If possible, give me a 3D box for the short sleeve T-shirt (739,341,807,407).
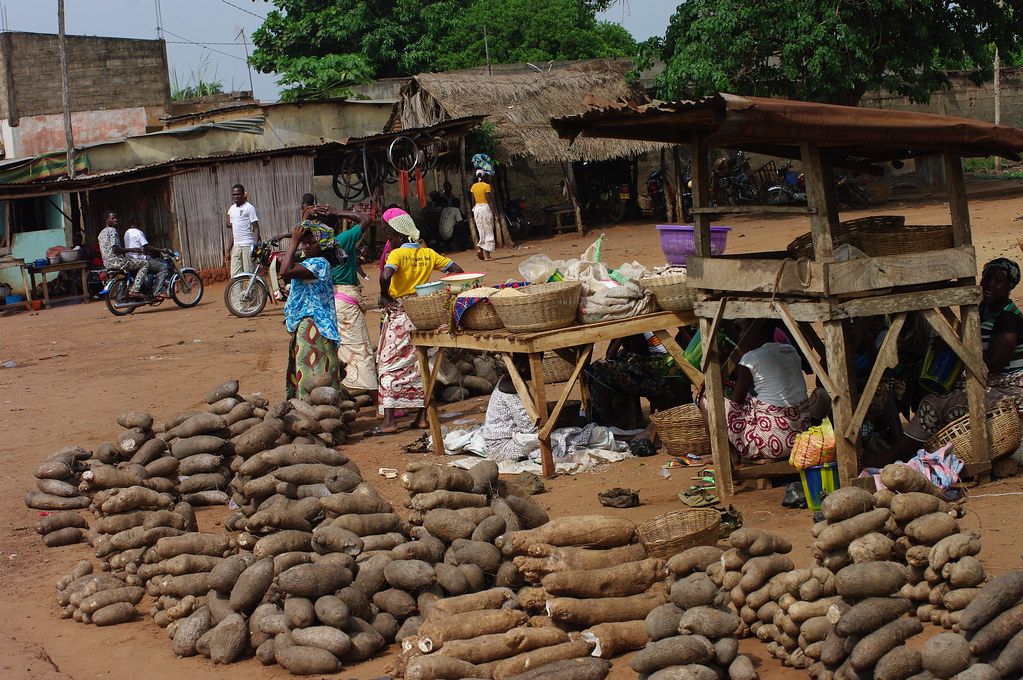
[{"bbox_3d":[2.242,0.306,8.775,0.452,0.437,0.243,-12,7,1],"label":"short sleeve T-shirt"}]

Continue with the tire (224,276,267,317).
[{"bbox_3d":[-4.773,-0.791,18.345,0.678,0.766,0.260,6,8,-10],"label":"tire"}]

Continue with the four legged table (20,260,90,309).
[{"bbox_3d":[-10.199,-1.270,22.953,1.312,0.995,1.790,-7,3,-20],"label":"four legged table"}]

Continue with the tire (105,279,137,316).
[{"bbox_3d":[-7.634,-0.875,19.948,0.247,0.812,0.702,3,2,35],"label":"tire"}]

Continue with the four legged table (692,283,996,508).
[{"bbox_3d":[2.938,0.135,8.732,1.906,1.921,1.996,0,7,35],"label":"four legged table"}]

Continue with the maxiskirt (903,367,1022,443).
[{"bbox_3d":[3.737,0.587,8.523,0.670,0.278,0.709,-27,-17,-17],"label":"maxiskirt"}]

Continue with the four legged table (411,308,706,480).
[{"bbox_3d":[0.231,0.066,10.125,1.926,1.133,1.984,-14,17,-37],"label":"four legged table"}]

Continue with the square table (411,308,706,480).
[{"bbox_3d":[0.223,0.070,10.139,1.926,1.133,1.984,-14,17,-37],"label":"square table"}]

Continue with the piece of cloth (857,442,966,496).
[{"bbox_3d":[3.275,1.045,8.168,0.663,0.247,0.522,-4,0,-5],"label":"piece of cloth"}]

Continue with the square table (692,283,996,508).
[{"bbox_3d":[2.938,0.122,8.732,1.906,1.921,1.996,0,7,35],"label":"square table"}]

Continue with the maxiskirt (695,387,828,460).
[{"bbox_3d":[2.178,0.756,9.018,0.640,0.378,0.858,-2,1,-25],"label":"maxiskirt"}]

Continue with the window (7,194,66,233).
[{"bbox_3d":[-12.344,-3.316,26.472,0.961,0.360,1.567,-9,17,-11],"label":"window"}]

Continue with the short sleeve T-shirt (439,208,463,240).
[{"bbox_3d":[-1.557,-3.028,26.024,0.641,0.754,0.358,7,27,5],"label":"short sleeve T-shirt"}]

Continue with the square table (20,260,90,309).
[{"bbox_3d":[-10.205,-1.270,22.955,1.322,0.995,1.798,-7,3,-20],"label":"square table"}]

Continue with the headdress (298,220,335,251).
[{"bbox_3d":[-2.137,-1.213,11.238,0.357,0.325,0.289,-15,30,-9],"label":"headdress"}]
